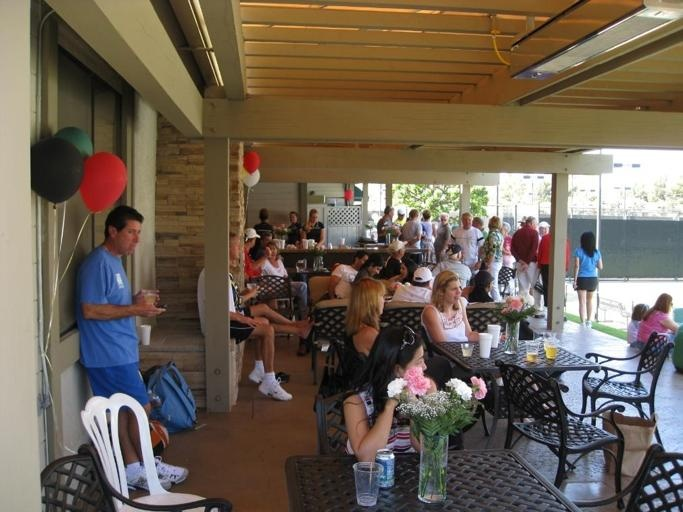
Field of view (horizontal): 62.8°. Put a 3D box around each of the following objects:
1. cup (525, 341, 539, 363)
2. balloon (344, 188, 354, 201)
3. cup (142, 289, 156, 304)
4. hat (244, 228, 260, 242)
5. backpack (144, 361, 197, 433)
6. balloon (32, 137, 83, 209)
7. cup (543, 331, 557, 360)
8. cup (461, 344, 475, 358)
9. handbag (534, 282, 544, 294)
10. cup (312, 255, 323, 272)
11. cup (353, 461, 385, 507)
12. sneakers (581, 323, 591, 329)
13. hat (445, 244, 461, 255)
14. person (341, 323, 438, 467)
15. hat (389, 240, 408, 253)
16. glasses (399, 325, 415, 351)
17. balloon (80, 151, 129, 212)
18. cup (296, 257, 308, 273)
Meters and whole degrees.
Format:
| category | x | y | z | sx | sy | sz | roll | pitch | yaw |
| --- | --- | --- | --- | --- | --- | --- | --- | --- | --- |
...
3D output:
| category | x | y | z | sx | sy | sz | roll | pitch | yaw |
| --- | --- | --- | --- | --- | --- | --- | --- | --- | --- |
| cup | 1.535 | 0.752 | 4.438 | 0.136 | 0.155 | 0.131 | 1 | 3 | 0 |
| balloon | 0.247 | -1.923 | 17.166 | 0.312 | 0.322 | 0.172 | 8 | -8 | -21 |
| cup | -1.406 | 0.285 | 4.013 | 0.091 | 0.102 | 0.092 | 0 | -3 | 0 |
| hat | -1.467 | -0.352 | 8.843 | 0.304 | 0.168 | 0.216 | -3 | 10 | -35 |
| backpack | -1.474 | 1.201 | 4.721 | 0.331 | 0.611 | 0.500 | -15 | 8 | -7 |
| balloon | -1.689 | -0.501 | 3.268 | 0.344 | 0.407 | 0.375 | 3 | -3 | -34 |
| cup | 1.727 | 0.722 | 4.558 | 0.109 | 0.205 | 0.235 | 3 | 7 | 21 |
| cup | 1.041 | 0.765 | 4.547 | 0.098 | 0.088 | 0.100 | 1 | -3 | 0 |
| handbag | 3.603 | 0.543 | 10.057 | 0.181 | 0.183 | 0.056 | 37 | -8 | -6 |
| cup | -0.400 | 0.118 | 9.684 | 0.235 | 0.402 | 0.248 | 2 | 1 | 0 |
| cup | 0.115 | 0.991 | 2.463 | 0.112 | 0.182 | 0.108 | 0 | 6 | 0 |
| sneakers | 4.151 | 1.157 | 9.362 | 0.076 | 0.093 | 0.231 | -3 | -5 | 8 |
| hat | 1.752 | -0.131 | 8.803 | 0.221 | 0.162 | 0.361 | 3 | 4 | 27 |
| person | 0.291 | 0.765 | 2.948 | 0.549 | 0.732 | 0.314 | -4 | 7 | -32 |
| hat | 0.980 | -0.177 | 9.443 | 0.245 | 0.132 | 0.187 | -28 | 15 | -4 |
| glasses | 0.364 | 0.438 | 3.006 | 0.099 | 0.030 | 0.098 | -32 | 5 | 11 |
| balloon | -1.578 | -0.492 | 3.643 | 0.230 | 0.384 | 0.322 | 6 | 8 | 41 |
| cup | -0.569 | 0.150 | 8.818 | 0.152 | 0.243 | 0.240 | 1 | 1 | -19 |
